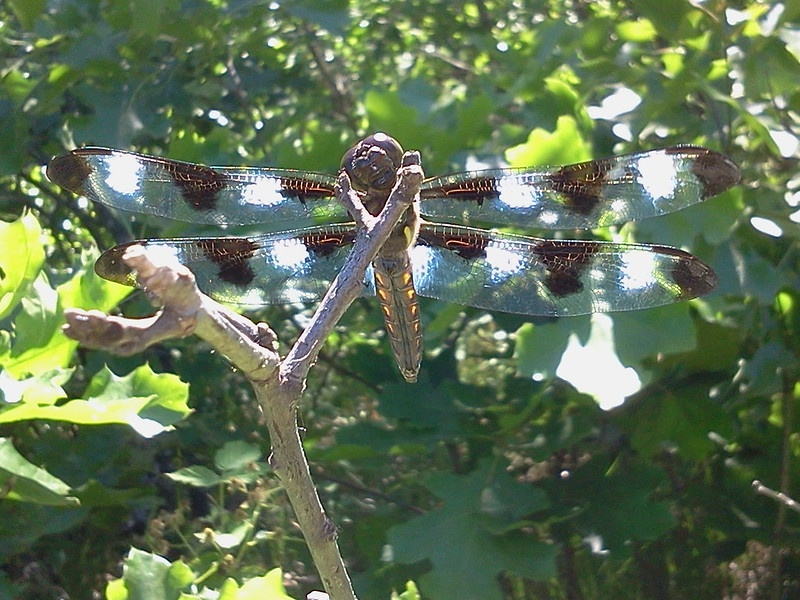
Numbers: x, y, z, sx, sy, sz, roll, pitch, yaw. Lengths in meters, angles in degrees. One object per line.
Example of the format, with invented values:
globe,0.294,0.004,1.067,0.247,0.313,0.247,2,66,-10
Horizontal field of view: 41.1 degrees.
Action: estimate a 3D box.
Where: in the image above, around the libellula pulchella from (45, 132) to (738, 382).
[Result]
libellula pulchella,0.049,-0.114,1.765,1.136,0.249,0.462,-2,-62,-4
